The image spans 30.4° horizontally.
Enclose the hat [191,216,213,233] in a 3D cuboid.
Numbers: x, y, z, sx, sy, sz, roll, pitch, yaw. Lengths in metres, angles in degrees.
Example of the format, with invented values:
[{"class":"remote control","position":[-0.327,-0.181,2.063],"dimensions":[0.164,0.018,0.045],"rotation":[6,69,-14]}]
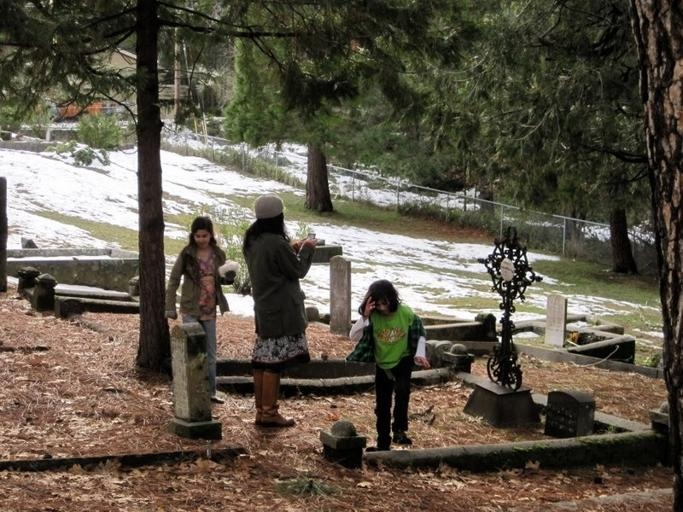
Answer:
[{"class":"hat","position":[-1.906,-0.426,17.139],"dimensions":[0.189,0.278,0.253],"rotation":[3,-11,-6]}]

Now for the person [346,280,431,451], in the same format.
[{"class":"person","position":[0.581,1.446,16.554],"dimensions":[1.005,2.190,0.603],"rotation":[7,11,2]}]

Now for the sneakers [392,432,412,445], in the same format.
[{"class":"sneakers","position":[0.766,2.435,16.809],"dimensions":[0.145,0.253,0.243],"rotation":[2,-9,-29]}]

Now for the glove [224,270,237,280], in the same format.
[{"class":"glove","position":[-1.516,0.259,17.020],"dimensions":[0.150,0.167,0.100],"rotation":[6,11,-7]}]

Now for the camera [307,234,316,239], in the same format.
[{"class":"camera","position":[-0.423,-0.276,17.177],"dimensions":[0.086,0.072,0.091],"rotation":[-3,6,-20]}]

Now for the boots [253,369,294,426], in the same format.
[{"class":"boots","position":[-0.840,1.888,16.810],"dimensions":[0.642,0.890,0.464],"rotation":[-4,8,-40]}]

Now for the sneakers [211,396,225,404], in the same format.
[{"class":"sneakers","position":[-1.692,1.962,17.192],"dimensions":[0.130,0.053,0.085],"rotation":[8,0,37]}]
